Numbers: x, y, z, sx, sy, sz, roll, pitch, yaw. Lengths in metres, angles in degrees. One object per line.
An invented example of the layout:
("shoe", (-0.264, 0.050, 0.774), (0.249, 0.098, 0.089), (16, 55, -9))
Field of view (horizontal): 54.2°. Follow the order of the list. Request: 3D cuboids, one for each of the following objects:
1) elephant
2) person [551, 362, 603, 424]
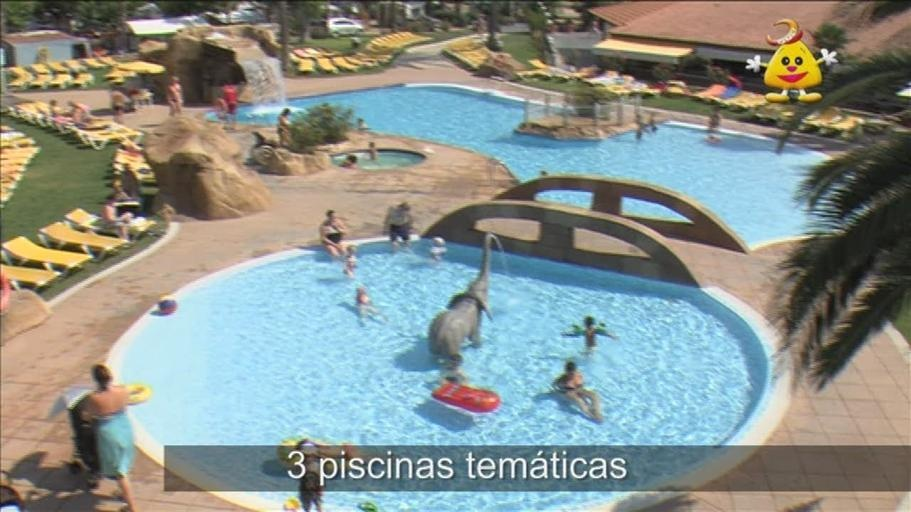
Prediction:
("elephant", (0.167, 1.313, 28.202), (2.271, 2.974, 3.713), (0, 90, 4))
("person", (3.677, 4.084, 26.576), (1.292, 1.610, 1.649), (1, 88, -34))
